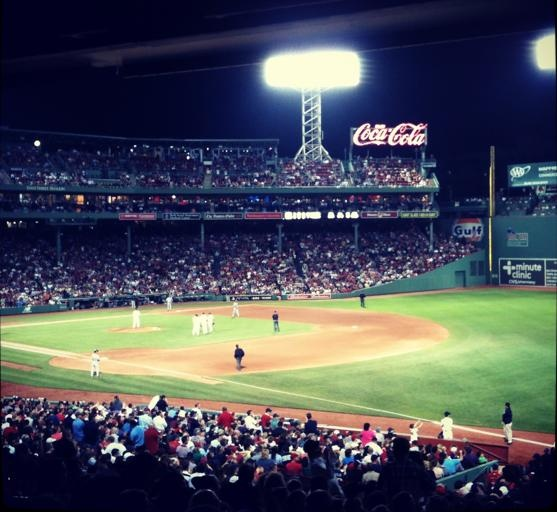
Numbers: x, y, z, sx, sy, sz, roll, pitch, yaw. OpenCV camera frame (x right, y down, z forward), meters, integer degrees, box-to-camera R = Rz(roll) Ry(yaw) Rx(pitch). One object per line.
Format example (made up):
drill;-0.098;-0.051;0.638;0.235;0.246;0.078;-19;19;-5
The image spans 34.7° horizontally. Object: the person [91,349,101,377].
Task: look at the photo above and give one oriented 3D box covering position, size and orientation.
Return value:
person;-6.733;3.845;32.483;0.295;0.955;1.648;-1;-2;-11
